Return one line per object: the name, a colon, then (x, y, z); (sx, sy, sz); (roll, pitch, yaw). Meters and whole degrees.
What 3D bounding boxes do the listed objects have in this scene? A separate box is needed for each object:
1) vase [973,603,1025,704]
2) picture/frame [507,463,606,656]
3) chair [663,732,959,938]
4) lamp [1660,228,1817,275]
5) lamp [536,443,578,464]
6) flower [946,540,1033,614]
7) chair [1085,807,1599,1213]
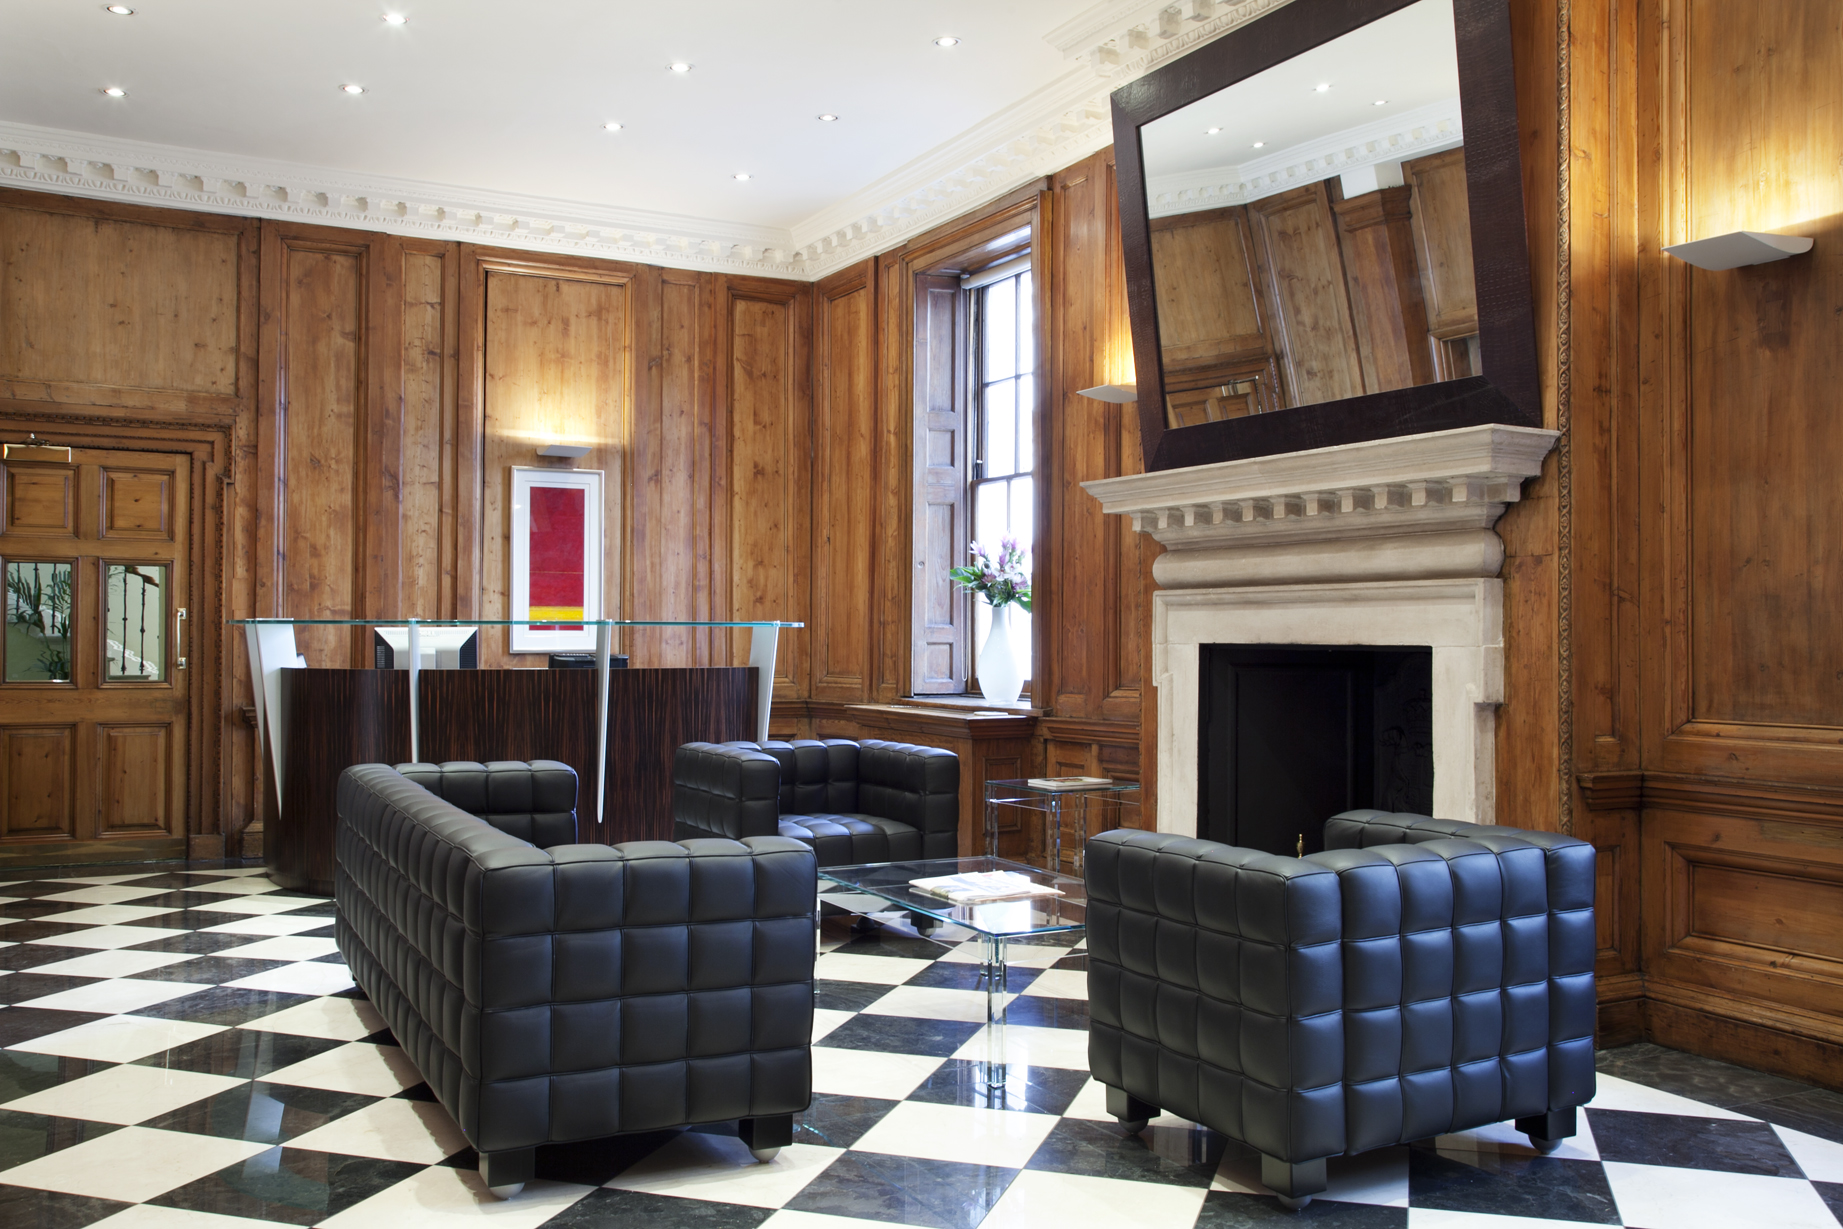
vase: (0.554, 0.247, 8.956); (0.303, 0.663, 0.545); (1, 5, 7)
picture/frame: (-2.710, -0.414, 9.880); (0.693, 1.382, 0.456); (-1, 5, -13)
chair: (-0.610, 1.114, 7.313); (1.347, 0.850, 1.225); (1, -4, -16)
lamp: (3.285, -1.470, 5.374); (0.414, 0.112, 0.341); (-2, 5, -24)
lamp: (-2.715, -1.201, 9.919); (0.288, 0.133, 0.090); (-2, -5, -24)
flower: (0.558, -0.264, 9.030); (0.485, 0.534, 0.517); (4, 2, 43)
chair: (1.455, 1.159, 4.747); (1.302, 1.049, 1.320); (1, -3, -26)
